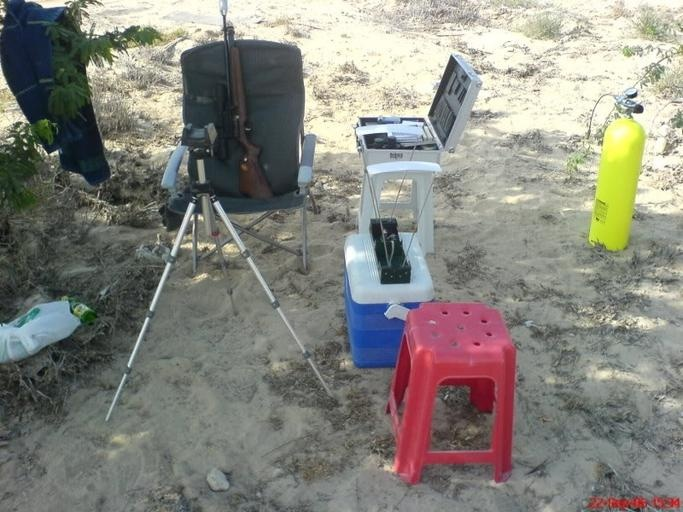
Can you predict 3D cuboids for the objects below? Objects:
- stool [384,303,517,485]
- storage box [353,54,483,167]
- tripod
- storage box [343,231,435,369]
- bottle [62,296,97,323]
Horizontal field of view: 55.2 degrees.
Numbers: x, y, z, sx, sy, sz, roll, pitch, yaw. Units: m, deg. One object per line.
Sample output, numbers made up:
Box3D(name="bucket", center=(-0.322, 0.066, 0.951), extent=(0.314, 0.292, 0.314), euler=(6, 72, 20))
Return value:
Box3D(name="stool", center=(0.801, 0.965, 4.689), extent=(0.896, 0.952, 0.803), euler=(0, 31, -1))
Box3D(name="storage box", center=(0.738, -1.194, 6.128), extent=(1.035, 0.848, 0.762), euler=(0, 17, 1))
Box3D(name="tripod", center=(-0.954, -0.167, 5.277), extent=(1.347, 1.726, 1.262), euler=(7, 38, 11))
Box3D(name="storage box", center=(0.358, 0.339, 5.498), extent=(0.634, 0.746, 1.070), euler=(-1, 26, -6))
Box3D(name="bottle", center=(-2.213, 0.462, 5.493), extent=(0.301, 0.114, 0.104), euler=(30, 3, 35))
